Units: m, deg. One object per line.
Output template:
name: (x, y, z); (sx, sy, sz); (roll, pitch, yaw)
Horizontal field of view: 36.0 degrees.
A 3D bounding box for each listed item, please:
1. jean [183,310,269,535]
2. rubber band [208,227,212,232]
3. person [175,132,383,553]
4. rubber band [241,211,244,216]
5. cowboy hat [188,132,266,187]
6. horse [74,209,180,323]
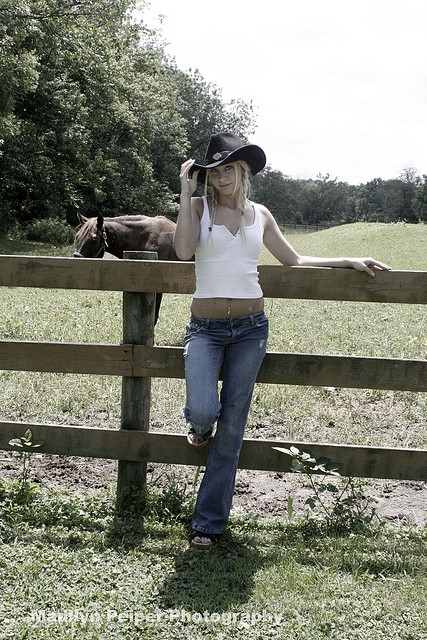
jean: (0.010, 0.508, 3.474); (0.572, 1.055, 0.692); (3, 15, -9)
rubber band: (-0.017, -0.456, 3.291); (0.020, 0.016, 0.007); (7, 11, 23)
person: (0.076, 0.085, 3.526); (0.556, 2.134, 0.798); (7, 11, 20)
rubber band: (0.150, -0.544, 3.351); (0.010, 0.012, 0.010); (-2, 11, -29)
cowboy hat: (0.091, -0.899, 3.454); (0.345, 0.167, 0.410); (-9, 9, 38)
horse: (-0.773, -0.682, 8.543); (2.098, 1.304, 0.551); (-8, 16, -33)
